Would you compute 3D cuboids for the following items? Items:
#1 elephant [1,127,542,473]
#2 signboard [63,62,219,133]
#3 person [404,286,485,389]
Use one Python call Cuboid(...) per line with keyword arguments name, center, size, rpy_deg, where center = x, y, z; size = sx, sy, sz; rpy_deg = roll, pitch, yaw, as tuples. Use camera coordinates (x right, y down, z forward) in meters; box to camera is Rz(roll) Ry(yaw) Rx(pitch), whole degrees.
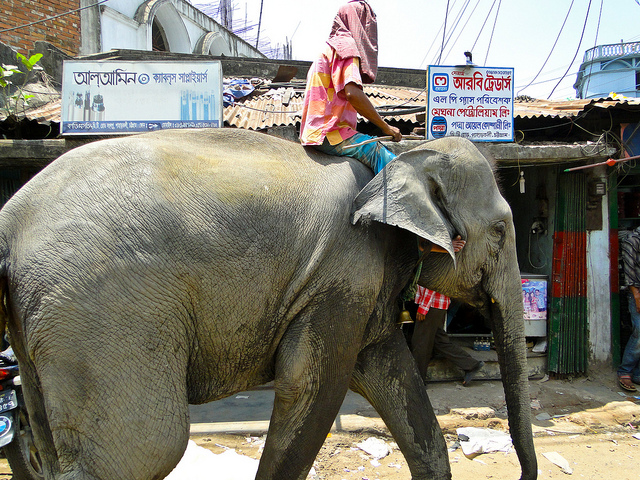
Cuboid(name="elephant", center=(-0.304, 0.449, 4.287), size=(3.037, 2.223, 0.960), rpy_deg=(-2, 9, -25))
Cuboid(name="signboard", center=(-1.927, -1.462, 7.155), size=(1.178, 0.604, 0.050), rpy_deg=(0, -4, -3))
Cuboid(name="person", center=(1.393, 0.817, 7.638), size=(0.726, 1.971, 0.576), rpy_deg=(-5, 30, 12))
